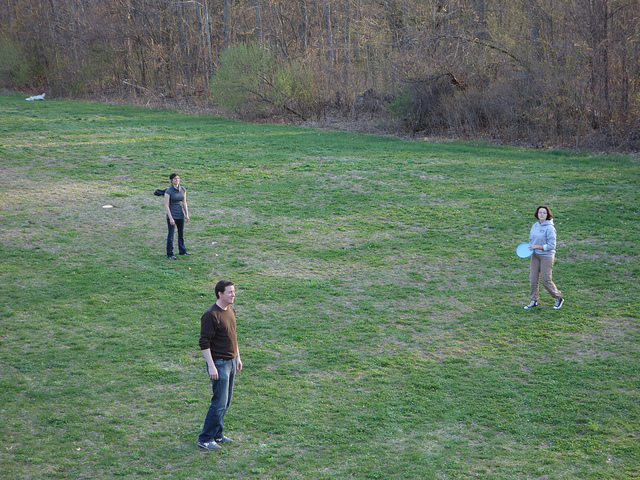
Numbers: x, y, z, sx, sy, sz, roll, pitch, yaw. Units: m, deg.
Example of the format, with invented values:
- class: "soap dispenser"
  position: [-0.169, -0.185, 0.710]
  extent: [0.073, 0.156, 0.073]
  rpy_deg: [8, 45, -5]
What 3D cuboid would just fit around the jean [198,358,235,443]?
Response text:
- class: "jean"
  position: [-3.852, 6.067, 47.853]
  extent: [1.420, 3.210, 0.452]
  rpy_deg: [-2, 13, -7]
